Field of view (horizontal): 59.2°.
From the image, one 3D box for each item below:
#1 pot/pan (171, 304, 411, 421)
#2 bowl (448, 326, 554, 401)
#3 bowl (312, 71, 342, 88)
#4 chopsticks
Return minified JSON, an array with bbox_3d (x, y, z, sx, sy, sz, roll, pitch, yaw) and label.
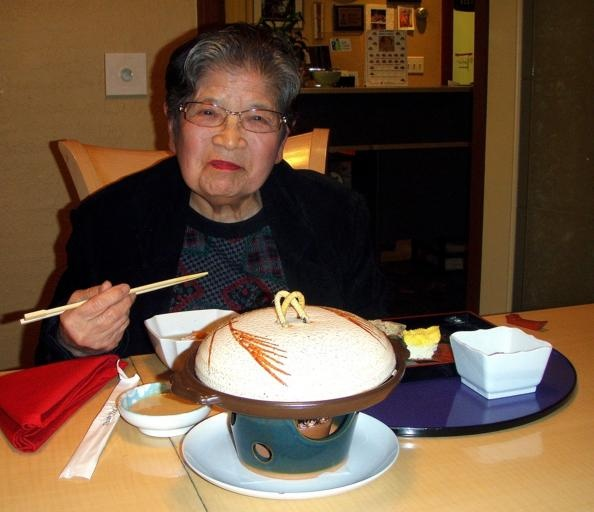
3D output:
[{"bbox_3d":[-0.013,0.129,0.628,0.300,0.098,0.179,0,20,7],"label":"pot/pan"},{"bbox_3d":[0.313,0.182,0.832,0.132,0.064,0.144,-3,-6,0],"label":"bowl"},{"bbox_3d":[0.177,-1.032,3.085,0.137,0.068,0.124,0,10,-2],"label":"bowl"},{"bbox_3d":[-0.299,0.066,0.934,0.387,0.027,0.017,-15,31,-23],"label":"chopsticks"}]
